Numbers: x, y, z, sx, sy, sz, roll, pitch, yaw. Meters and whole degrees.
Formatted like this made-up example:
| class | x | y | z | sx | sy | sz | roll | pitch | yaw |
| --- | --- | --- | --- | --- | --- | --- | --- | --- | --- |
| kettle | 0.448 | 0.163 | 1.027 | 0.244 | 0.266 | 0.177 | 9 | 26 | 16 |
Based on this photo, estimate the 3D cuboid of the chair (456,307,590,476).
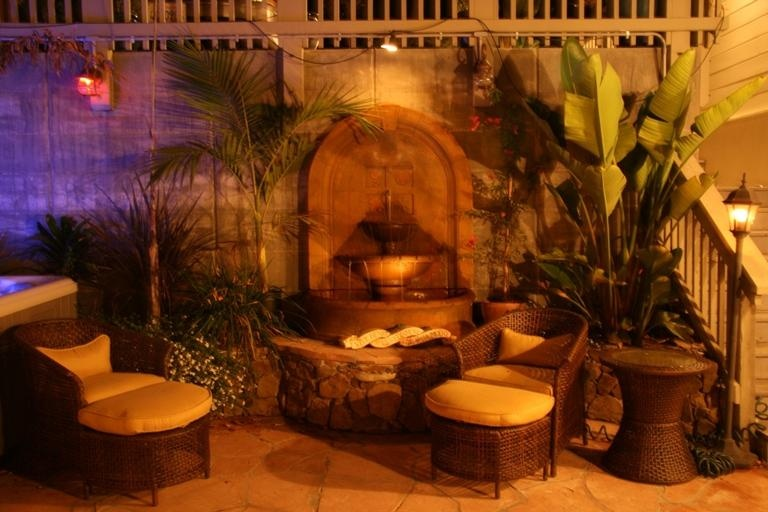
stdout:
| class | x | y | z | sx | sy | sz | roll | pitch | yaw |
| --- | --- | --- | --- | --- | --- | --- | --- | --- | --- |
| chair | 1.287 | 1.183 | 6.318 | 1.106 | 1.389 | 1.022 | 1 | 3 | 32 |

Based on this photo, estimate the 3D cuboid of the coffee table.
| class | x | y | z | sx | sy | sz | roll | pitch | yaw |
| --- | --- | --- | --- | --- | --- | --- | --- | --- | --- |
| coffee table | 2.395 | 1.477 | 6.121 | 0.822 | 0.947 | 0.824 | 0 | -4 | 6 |

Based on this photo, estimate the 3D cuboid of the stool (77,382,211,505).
| class | x | y | z | sx | sy | sz | roll | pitch | yaw |
| --- | --- | --- | --- | --- | --- | --- | --- | --- | --- |
| stool | -2.029 | 1.464 | 5.757 | 0.896 | 0.716 | 0.931 | 4 | 4 | 31 |

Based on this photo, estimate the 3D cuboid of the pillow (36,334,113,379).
| class | x | y | z | sx | sy | sz | roll | pitch | yaw |
| --- | --- | --- | --- | --- | --- | --- | --- | --- | --- |
| pillow | -2.719 | 0.882 | 5.949 | 0.111 | 0.232 | 0.352 | -36 | -21 | 36 |

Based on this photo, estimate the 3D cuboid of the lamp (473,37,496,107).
| class | x | y | z | sx | sy | sz | roll | pitch | yaw |
| --- | --- | --- | --- | --- | --- | --- | --- | --- | --- |
| lamp | 1.155 | -2.125 | 7.884 | 0.254 | 0.773 | 0.366 | 3 | 17 | 7 |

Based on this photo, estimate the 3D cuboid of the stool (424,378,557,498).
| class | x | y | z | sx | sy | sz | roll | pitch | yaw |
| --- | --- | --- | --- | --- | --- | --- | --- | --- | --- |
| stool | 0.865 | 1.541 | 6.014 | 1.103 | 0.831 | 0.911 | 3 | 6 | 34 |
